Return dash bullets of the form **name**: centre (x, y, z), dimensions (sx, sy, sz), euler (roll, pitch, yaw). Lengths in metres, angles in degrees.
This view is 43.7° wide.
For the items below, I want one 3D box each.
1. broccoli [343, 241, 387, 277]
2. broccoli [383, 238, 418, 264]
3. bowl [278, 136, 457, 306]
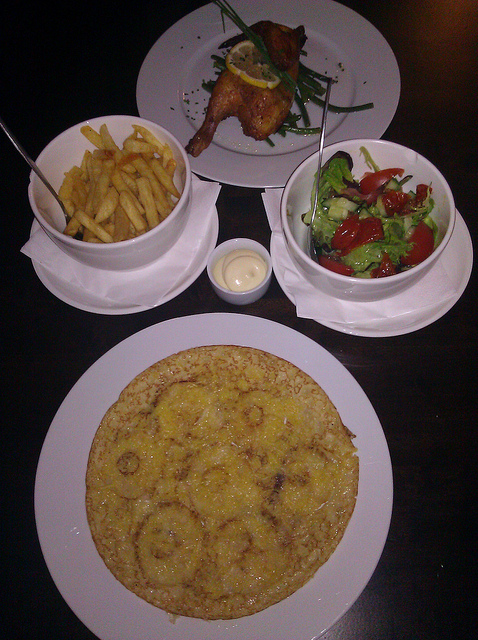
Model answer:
- **broccoli**: centre (0.372, -0.173, 1.756), dimensions (0.113, 0.058, 0.079), euler (-8, 62, -1)
- **broccoli**: centre (0.480, -0.209, 1.761), dimensions (0.070, 0.033, 0.069), euler (0, 71, -16)
- **bowl**: centre (0.369, -0.293, 1.757), dimensions (0.483, 0.275, 0.490), euler (-1, 62, 3)
